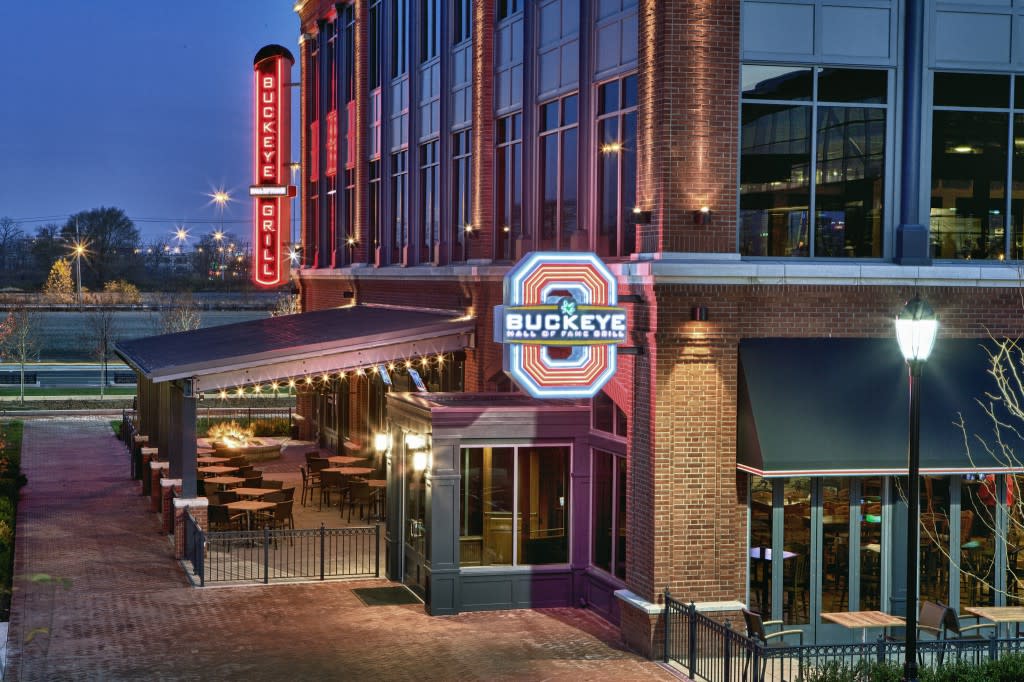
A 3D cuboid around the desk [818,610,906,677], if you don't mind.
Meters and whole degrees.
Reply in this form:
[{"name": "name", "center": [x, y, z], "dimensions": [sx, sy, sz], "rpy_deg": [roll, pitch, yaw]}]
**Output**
[{"name": "desk", "center": [6.525, 5.516, 24.740], "dimensions": [0.834, 0.779, 0.827], "rpy_deg": [0, 1, -6]}]
